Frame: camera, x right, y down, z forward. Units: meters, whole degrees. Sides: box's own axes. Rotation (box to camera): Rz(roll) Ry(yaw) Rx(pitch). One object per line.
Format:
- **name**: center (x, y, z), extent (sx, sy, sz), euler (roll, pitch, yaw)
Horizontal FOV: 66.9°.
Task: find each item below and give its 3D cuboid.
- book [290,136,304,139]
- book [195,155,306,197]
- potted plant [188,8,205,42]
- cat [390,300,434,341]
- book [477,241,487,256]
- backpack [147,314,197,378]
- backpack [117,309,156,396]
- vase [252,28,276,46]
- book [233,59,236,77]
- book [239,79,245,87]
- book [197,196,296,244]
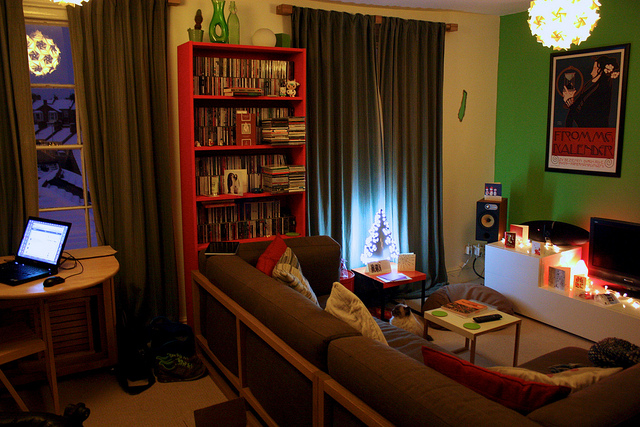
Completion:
- **book**: center (-0.232, -0.753, 4.803), extent (0.124, 0.021, 0.031), euler (1, -35, -7)
- **book**: center (-0.752, -0.421, 4.950), extent (1.170, 0.417, 0.346), euler (-4, 10, -27)
- **potted plant**: center (-1.149, -1.720, 4.448), extent (0.133, 0.321, 0.193), euler (-4, 9, -16)
- **cat**: center (0.775, 0.887, 4.087), extent (0.302, 0.312, 0.222), euler (7, 7, 10)
- **book**: center (2.073, 0.448, 6.179), extent (0.209, 0.194, 0.050), euler (1, -8, 3)
- **backpack**: center (-1.321, 1.133, 4.244), extent (0.478, 0.454, 0.361), euler (-2, 4, -20)
- **backpack**: center (-1.583, 1.226, 4.127), extent (0.179, 0.563, 0.326), euler (-28, -26, 22)
- **vase**: center (-0.536, -1.699, 4.691), extent (0.231, 0.180, 0.174), euler (-4, 9, -14)
- **book**: center (-0.825, -1.385, 4.637), extent (0.035, 0.158, 0.012), euler (-9, 11, -39)
- **book**: center (-0.759, -1.254, 4.670), extent (0.052, 0.071, 0.007), euler (-6, 10, -30)
- **book**: center (-0.746, 0.002, 4.961), extent (0.989, 0.444, 0.323), euler (-3, 12, -19)
